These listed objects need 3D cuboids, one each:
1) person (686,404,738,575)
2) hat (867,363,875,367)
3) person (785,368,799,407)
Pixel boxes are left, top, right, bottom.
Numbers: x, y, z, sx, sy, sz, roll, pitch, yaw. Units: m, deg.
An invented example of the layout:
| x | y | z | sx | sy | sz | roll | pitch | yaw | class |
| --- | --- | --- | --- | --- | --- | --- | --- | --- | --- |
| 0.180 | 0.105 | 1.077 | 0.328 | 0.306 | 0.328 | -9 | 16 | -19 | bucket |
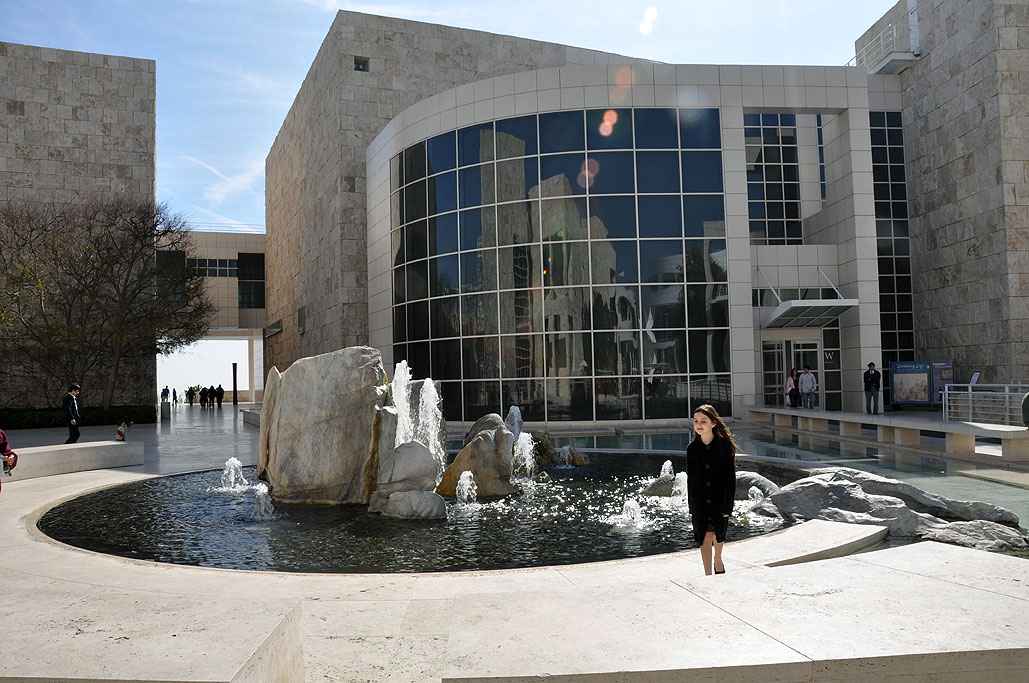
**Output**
| x | y | z | sx | sy | sz | roll | pitch | yaw | class |
| --- | --- | --- | --- | --- | --- | --- | --- | --- | --- |
| 2.404 | 1.868 | 8.480 | 0.668 | 2.123 | 0.697 | 1 | -6 | -40 | person |
| 13.627 | 0.897 | 26.163 | 0.355 | 0.123 | 0.363 | 0 | 1 | 15 | hat |
| 11.350 | 1.912 | 27.998 | 0.516 | 1.489 | 0.995 | -4 | -5 | 22 | person |
